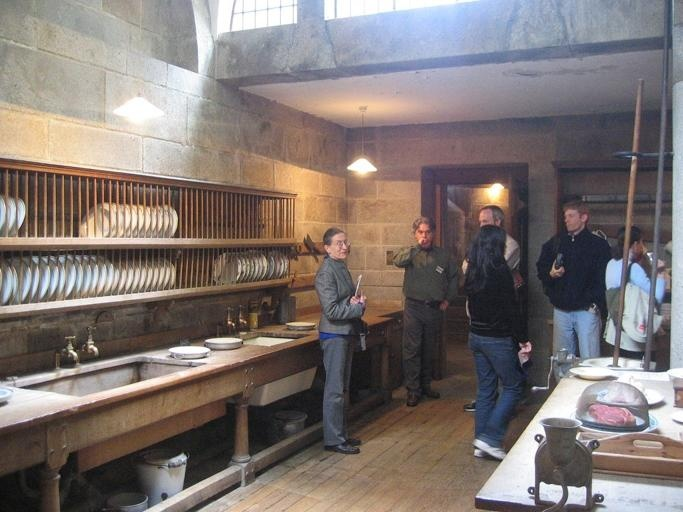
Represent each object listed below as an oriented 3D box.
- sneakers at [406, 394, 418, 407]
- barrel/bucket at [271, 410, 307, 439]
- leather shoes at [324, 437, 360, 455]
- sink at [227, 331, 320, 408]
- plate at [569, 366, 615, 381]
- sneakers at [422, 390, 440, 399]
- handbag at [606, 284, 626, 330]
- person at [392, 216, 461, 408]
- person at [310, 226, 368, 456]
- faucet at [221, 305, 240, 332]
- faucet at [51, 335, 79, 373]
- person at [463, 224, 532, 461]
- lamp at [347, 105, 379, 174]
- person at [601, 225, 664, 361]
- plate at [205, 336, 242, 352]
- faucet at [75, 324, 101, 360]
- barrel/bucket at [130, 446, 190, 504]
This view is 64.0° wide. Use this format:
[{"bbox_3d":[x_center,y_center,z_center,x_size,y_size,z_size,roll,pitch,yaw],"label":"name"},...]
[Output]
[{"bbox_3d":[0.726,1.467,5.574,0.140,0.107,0.118,0,5,-3],"label":"sneakers"},{"bbox_3d":[-0.431,1.443,4.619,0.299,0.166,0.313,1,5,0],"label":"barrel/bucket"},{"bbox_3d":[-0.023,1.563,4.513,0.329,0.151,0.116,-4,-1,16],"label":"leather shoes"},{"bbox_3d":[-0.516,0.946,4.539,0.449,0.279,0.709,-4,-6,35],"label":"sink"},{"bbox_3d":[1.410,0.656,3.076,0.234,0.058,0.215,2,5,11],"label":"plate"},{"bbox_3d":[0.944,1.464,5.779,0.180,0.116,0.068,-3,-2,21],"label":"sneakers"},{"bbox_3d":[2.088,0.408,4.199,0.094,0.289,0.043,-16,-26,37],"label":"handbag"},{"bbox_3d":[0.849,0.568,5.610,0.645,1.895,0.382,1,5,6],"label":"person"},{"bbox_3d":[-0.021,0.697,4.379,0.380,1.811,0.374,0,5,-1],"label":"person"},{"bbox_3d":[-0.952,0.561,4.824,0.123,0.233,0.250,3,6,28],"label":"faucet"},{"bbox_3d":[-1.727,0.621,3.494,0.122,0.204,0.173,1,1,35],"label":"faucet"},{"bbox_3d":[1.140,0.689,4.120,0.448,1.837,0.263,2,5,14],"label":"person"},{"bbox_3d":[0.222,-1.243,5.905,0.352,0.704,0.349,6,11,30],"label":"lamp"},{"bbox_3d":[2.295,0.363,4.254,0.362,1.248,0.422,-18,29,5],"label":"person"},{"bbox_3d":[-0.897,0.679,4.185,0.266,0.069,0.142,-2,6,-23],"label":"plate"},{"bbox_3d":[-1.689,0.552,3.663,0.054,0.172,0.303,-1,3,-44],"label":"faucet"},{"bbox_3d":[-1.180,1.425,3.600,0.282,0.282,0.310,-2,-6,14],"label":"barrel/bucket"}]
